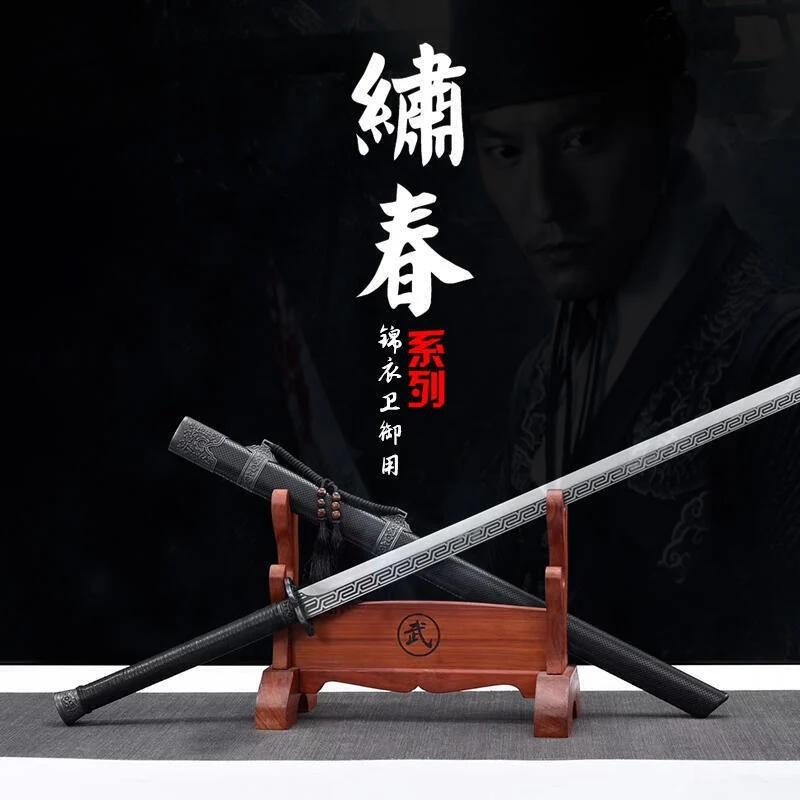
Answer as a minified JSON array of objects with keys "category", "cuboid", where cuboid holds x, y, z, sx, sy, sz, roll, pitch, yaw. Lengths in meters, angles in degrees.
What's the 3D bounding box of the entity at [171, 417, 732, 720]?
[{"category":"entity","cuboid":[0.260,0.560,2.886,1.446,0.236,0.228,27,67,14]}]
